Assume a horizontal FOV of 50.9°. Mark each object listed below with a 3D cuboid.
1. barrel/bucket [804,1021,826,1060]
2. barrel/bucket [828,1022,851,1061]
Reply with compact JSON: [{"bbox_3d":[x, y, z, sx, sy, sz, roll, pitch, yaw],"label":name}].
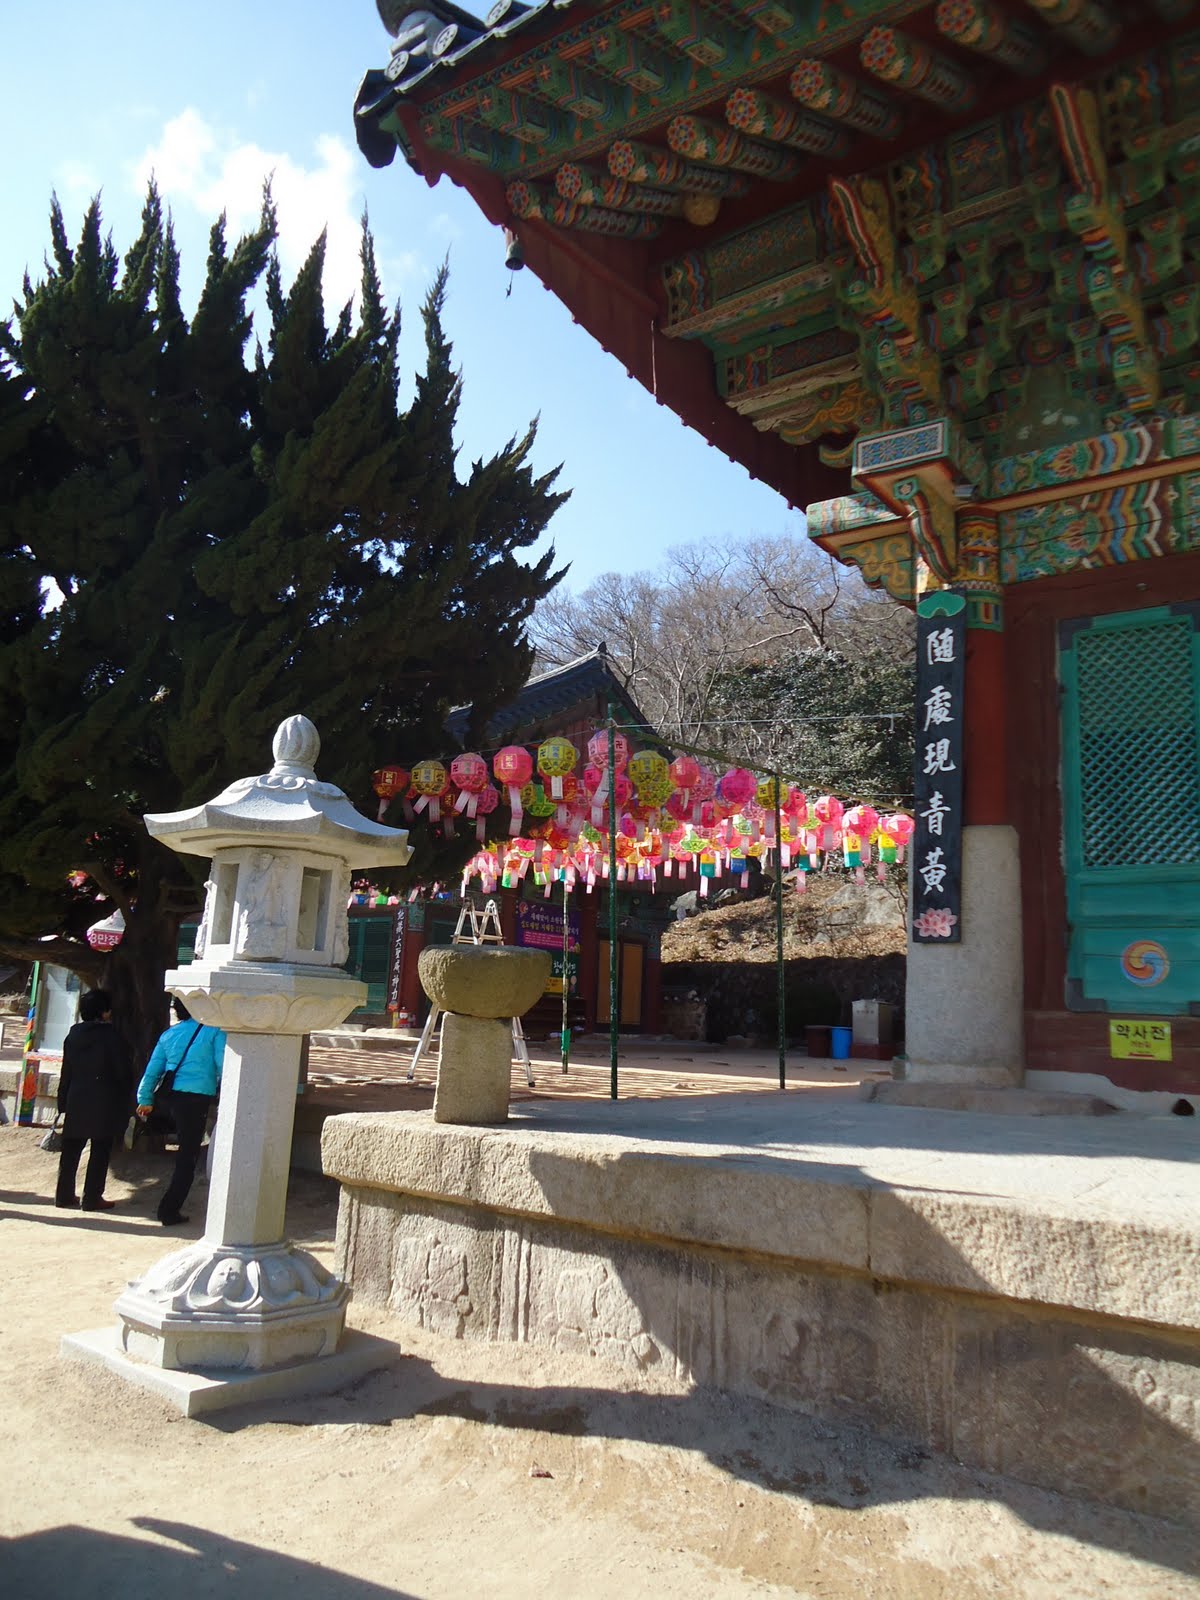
[{"bbox_3d":[3.368,3.749,19.647,0.236,0.419,0.431,5,-9,-40],"label":"barrel/bucket"},{"bbox_3d":[3.692,3.702,19.376,0.312,0.420,0.906,-2,-7,10],"label":"barrel/bucket"}]
